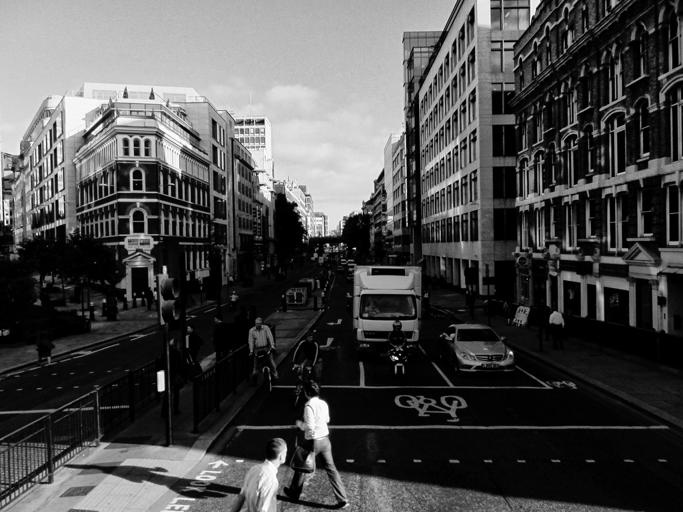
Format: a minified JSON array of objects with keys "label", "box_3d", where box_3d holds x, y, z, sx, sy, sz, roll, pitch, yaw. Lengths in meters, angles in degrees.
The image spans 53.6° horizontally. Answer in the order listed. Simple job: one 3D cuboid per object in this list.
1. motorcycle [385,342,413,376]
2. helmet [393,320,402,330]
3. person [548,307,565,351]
[{"label":"motorcycle","box_3d":[2.224,3.802,26.095,0.840,1.351,0.432,-20,19,-17]},{"label":"helmet","box_3d":[2.209,2.728,26.539,0.287,0.419,0.436,0,-6,-1]},{"label":"person","box_3d":[10.049,3.386,31.484,0.580,1.837,1.158,-3,0,16]}]
